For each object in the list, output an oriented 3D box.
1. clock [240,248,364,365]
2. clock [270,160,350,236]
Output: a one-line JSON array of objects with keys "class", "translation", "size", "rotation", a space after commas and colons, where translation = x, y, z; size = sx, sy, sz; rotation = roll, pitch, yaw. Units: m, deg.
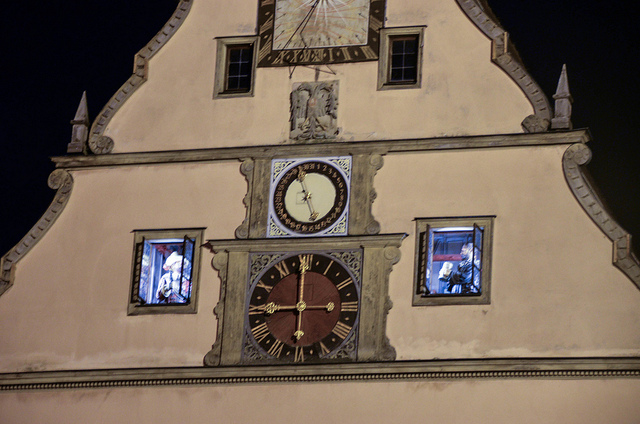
[{"class": "clock", "translation": [-0.217, 1.720, 32.523], "size": [2.092, 2.065, 0.141], "rotation": [-1, -19, 9]}, {"class": "clock", "translation": [-0.107, -0.209, 33.082], "size": [1.362, 1.351, 0.138], "rotation": [-4, -27, 6]}]
